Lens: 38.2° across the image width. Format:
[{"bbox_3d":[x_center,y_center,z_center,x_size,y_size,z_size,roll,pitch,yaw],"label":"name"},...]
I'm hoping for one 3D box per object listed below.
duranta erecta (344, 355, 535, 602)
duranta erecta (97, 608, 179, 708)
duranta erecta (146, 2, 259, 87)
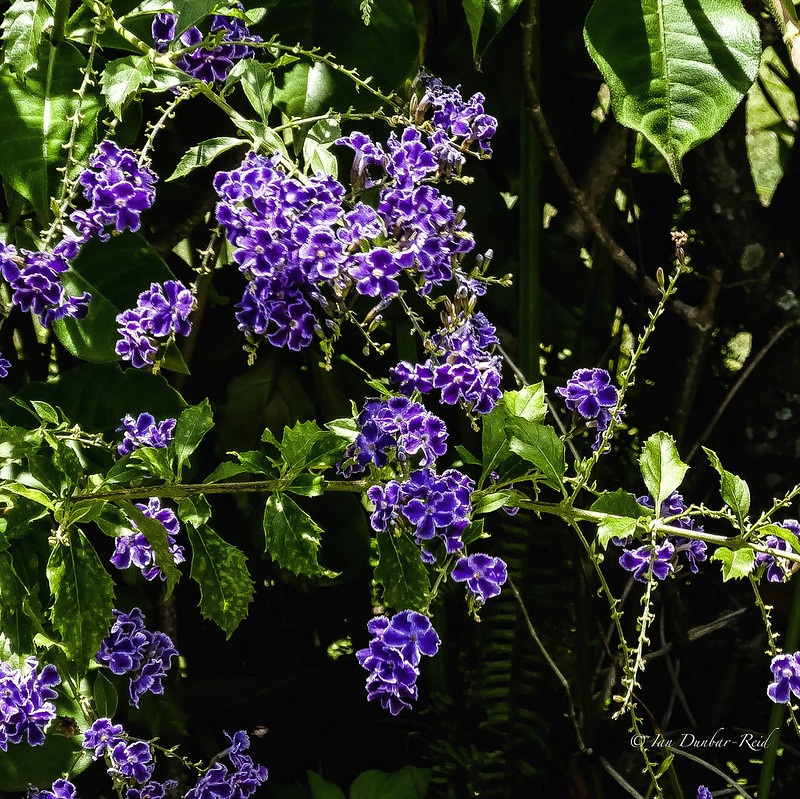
[{"bbox_3d":[0.029,0.085,1.229,0.191,0.252,0.137,5,17,5],"label":"duranta erecta"},{"bbox_3d":[-0.330,0.323,1.454,0.082,0.125,0.089,4,17,2],"label":"duranta erecta"},{"bbox_3d":[-0.213,-0.390,1.285,0.117,0.074,0.125,-2,18,-16],"label":"duranta erecta"}]
